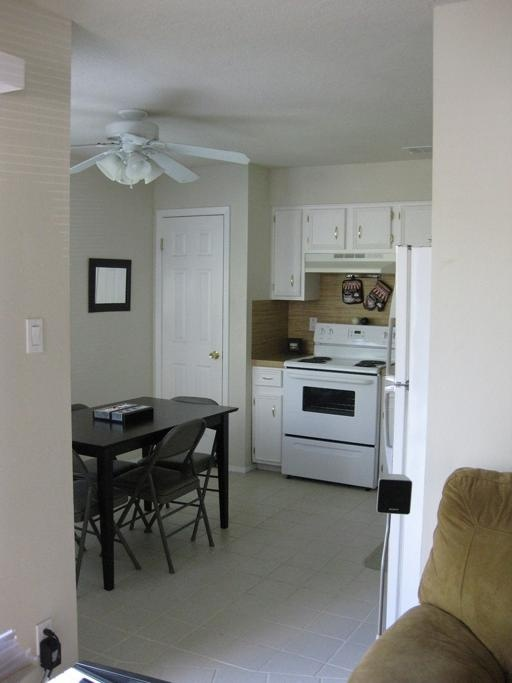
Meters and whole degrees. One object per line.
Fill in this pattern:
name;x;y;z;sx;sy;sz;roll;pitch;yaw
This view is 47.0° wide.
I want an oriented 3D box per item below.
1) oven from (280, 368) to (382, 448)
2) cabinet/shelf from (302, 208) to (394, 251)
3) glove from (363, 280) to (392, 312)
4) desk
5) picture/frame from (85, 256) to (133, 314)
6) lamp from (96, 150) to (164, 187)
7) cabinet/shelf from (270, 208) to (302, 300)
oven;0.617;0.539;4.747;0.840;0.609;0.562;2;2;29
cabinet/shelf;0.743;-0.943;4.966;0.824;0.376;0.269;-4;8;-14
glove;1.060;-0.378;5.109;0.195;0.269;0.108;31;13;26
desk;-0.644;0.819;3.425;0.733;0.794;1.161;2;3;19
picture/frame;-1.213;-0.470;4.802;0.037;0.491;0.512;4;5;34
lamp;-0.636;-0.890;3.001;0.281;0.147;0.258;1;3;6
cabinet/shelf;0.264;-0.775;5.142;0.316;0.778;0.090;-4;10;-24
